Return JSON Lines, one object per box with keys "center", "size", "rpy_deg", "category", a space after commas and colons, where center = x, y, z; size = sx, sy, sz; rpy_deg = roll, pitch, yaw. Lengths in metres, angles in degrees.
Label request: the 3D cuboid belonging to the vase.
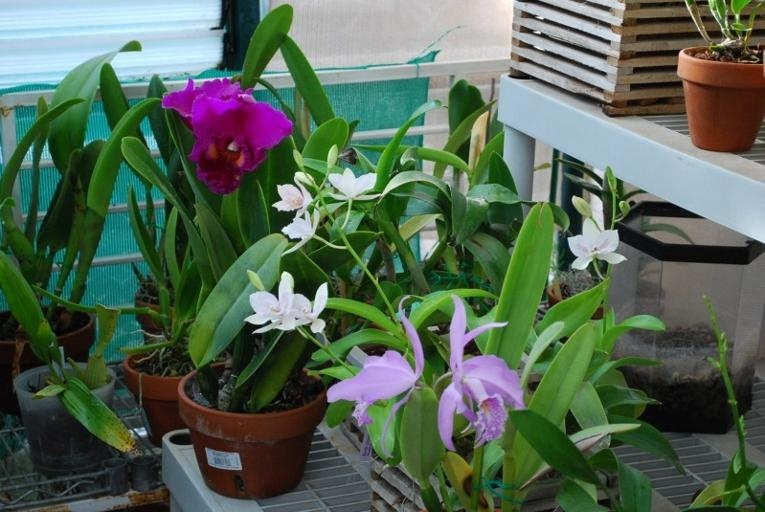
{"center": [-0.302, 0.329, 1.387], "size": [0.287, 0.172, 0.309], "rpy_deg": [7, 15, 22], "category": "vase"}
